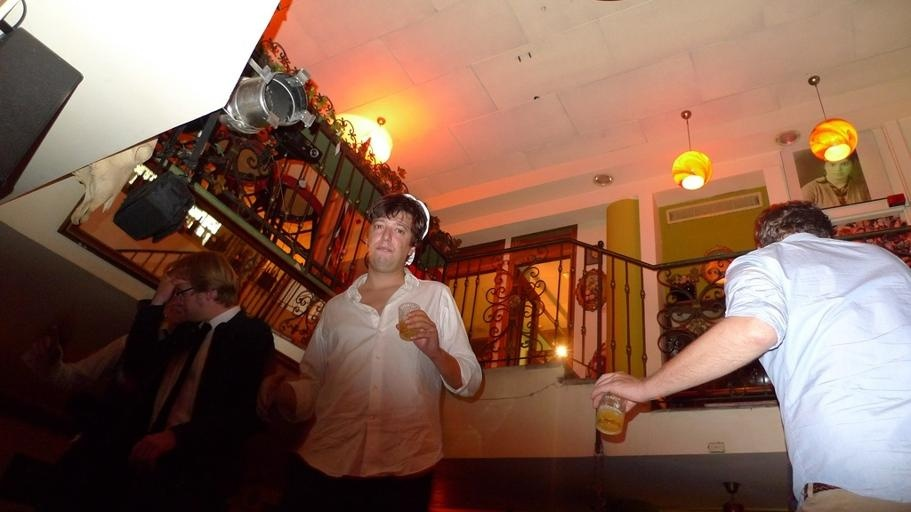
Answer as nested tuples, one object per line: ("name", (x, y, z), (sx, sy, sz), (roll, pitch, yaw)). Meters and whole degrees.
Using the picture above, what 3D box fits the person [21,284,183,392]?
("person", (-2.666, 0.491, 3.901), (1.126, 0.306, 0.390), (-11, -36, 13))

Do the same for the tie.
("tie", (-1.692, 0.789, 3.137), (0.150, 0.830, 0.100), (9, -27, 23))

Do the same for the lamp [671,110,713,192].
("lamp", (3.740, -1.684, 7.971), (0.484, 1.285, 0.675), (-13, -32, 37))
